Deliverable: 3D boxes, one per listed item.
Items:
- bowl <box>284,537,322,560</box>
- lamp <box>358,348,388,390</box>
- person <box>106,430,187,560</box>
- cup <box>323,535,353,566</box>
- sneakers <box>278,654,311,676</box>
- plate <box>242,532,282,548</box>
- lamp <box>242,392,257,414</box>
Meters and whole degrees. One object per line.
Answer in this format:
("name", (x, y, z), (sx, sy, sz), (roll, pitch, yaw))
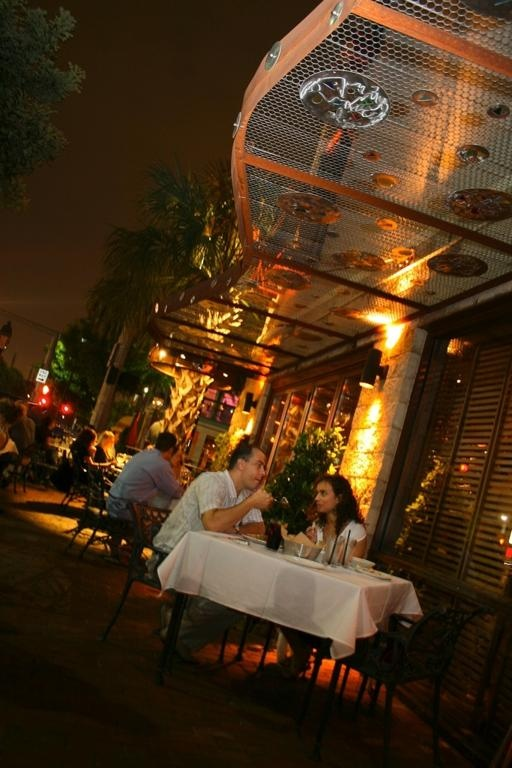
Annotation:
("bowl", (0.263, 0.887, 3.093), (0.144, 0.054, 0.147), (15, -15, 4))
("lamp", (1.442, -0.179, 6.681), (0.278, 0.405, 0.353), (20, -6, 9))
("person", (-1.184, 1.228, 6.246), (0.959, 1.374, 0.594), (3, 11, -41))
("cup", (0.517, 1.036, 3.434), (0.174, 0.196, 0.179), (11, -13, 2))
("sneakers", (0.271, 1.926, 3.788), (0.276, 0.129, 0.347), (3, -21, -3))
("plate", (0.099, 0.902, 3.227), (0.184, 0.044, 0.172), (4, -6, 10))
("lamp", (-0.173, 0.476, 14.702), (0.239, 0.510, 1.020), (22, -6, -9))
